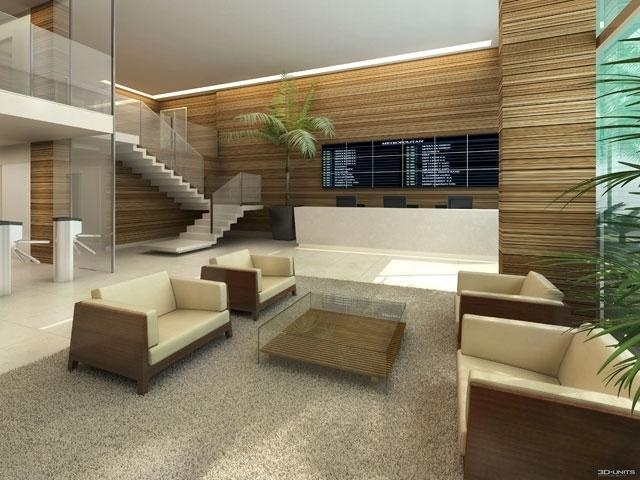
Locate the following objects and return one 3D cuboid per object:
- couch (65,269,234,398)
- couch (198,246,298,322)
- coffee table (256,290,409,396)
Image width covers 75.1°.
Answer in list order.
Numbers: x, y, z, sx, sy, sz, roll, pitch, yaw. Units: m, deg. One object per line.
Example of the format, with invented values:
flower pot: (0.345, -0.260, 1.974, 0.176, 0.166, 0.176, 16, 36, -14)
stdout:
couch: (-1.625, 0.743, 4.111, 0.963, 0.580, 1.244, 8, 12, 24)
couch: (-0.931, 0.482, 5.342, 0.906, 0.683, 1.187, 2, 4, 23)
coffee table: (0.098, 0.932, 4.135, 1.001, 0.274, 0.887, 3, 9, 22)
